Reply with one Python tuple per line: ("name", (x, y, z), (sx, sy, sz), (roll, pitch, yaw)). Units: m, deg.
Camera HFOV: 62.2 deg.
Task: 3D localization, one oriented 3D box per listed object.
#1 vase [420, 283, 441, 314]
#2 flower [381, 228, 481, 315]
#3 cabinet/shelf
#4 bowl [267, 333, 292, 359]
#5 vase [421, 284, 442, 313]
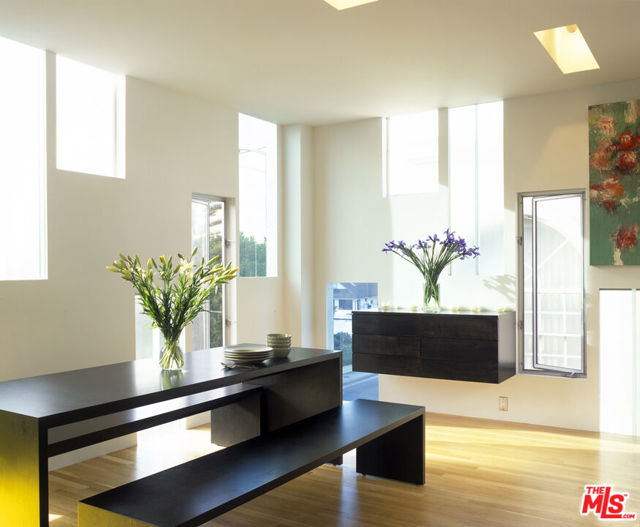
("vase", (1.167, 0.367, 5.473), (0.234, 0.415, 0.264), (1, -2, 15))
("flower", (1.228, 0.110, 5.737), (0.872, 0.811, 0.854), (-2, -6, 34))
("cabinet/shelf", (1.115, 0.792, 5.616), (1.468, 0.680, 0.586), (0, 8, 20))
("bowl", (-0.279, 0.572, 3.678), (0.145, 0.126, 0.152), (1, -5, 0))
("vase", (1.160, 0.365, 5.475), (0.233, 0.411, 0.261), (0, -2, 18))
